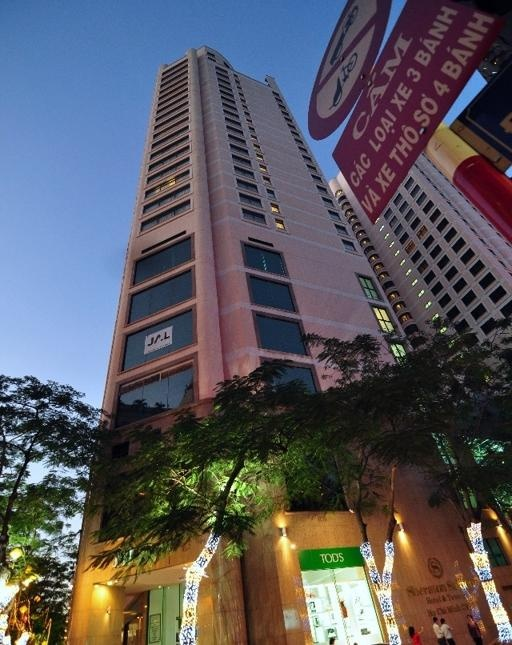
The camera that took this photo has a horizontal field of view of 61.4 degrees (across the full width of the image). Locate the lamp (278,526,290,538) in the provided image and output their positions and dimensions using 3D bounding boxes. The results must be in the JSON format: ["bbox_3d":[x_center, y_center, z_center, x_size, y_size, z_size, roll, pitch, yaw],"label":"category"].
[{"bbox_3d":[1.167,9.078,18.738,0.396,0.643,0.361,10,-41,-11],"label":"lamp"}]

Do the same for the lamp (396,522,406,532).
[{"bbox_3d":[7.192,10.233,21.558,0.380,0.378,0.114,11,-45,-25],"label":"lamp"}]
